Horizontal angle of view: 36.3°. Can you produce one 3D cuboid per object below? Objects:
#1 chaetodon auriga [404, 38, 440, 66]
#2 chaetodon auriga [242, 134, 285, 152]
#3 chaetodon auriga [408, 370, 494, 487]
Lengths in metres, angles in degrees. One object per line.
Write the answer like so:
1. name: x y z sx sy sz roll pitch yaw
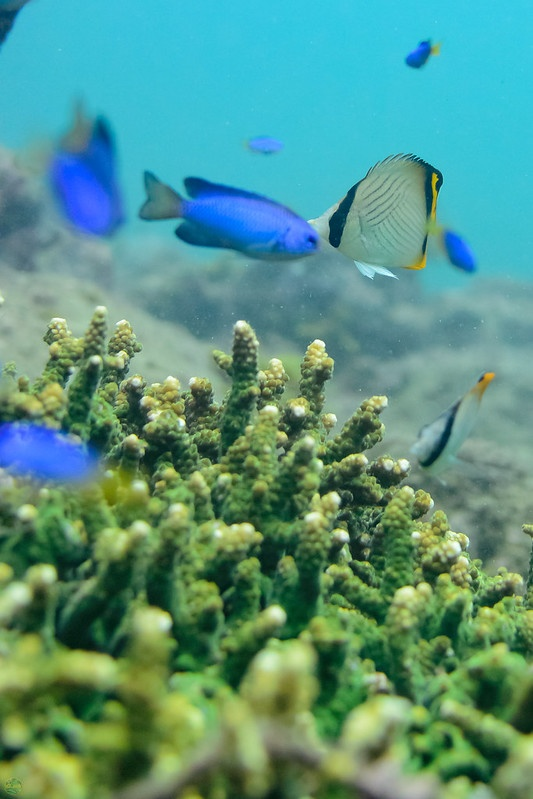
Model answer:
1. chaetodon auriga: 0.832 -1.851 4.341 0.143 0.154 0.304 18 19 2
2. chaetodon auriga: -0.021 -1.644 5.254 0.211 0.118 0.191 9 20 -19
3. chaetodon auriga: 0.460 0.071 2.149 0.163 0.307 0.151 36 -2 31
